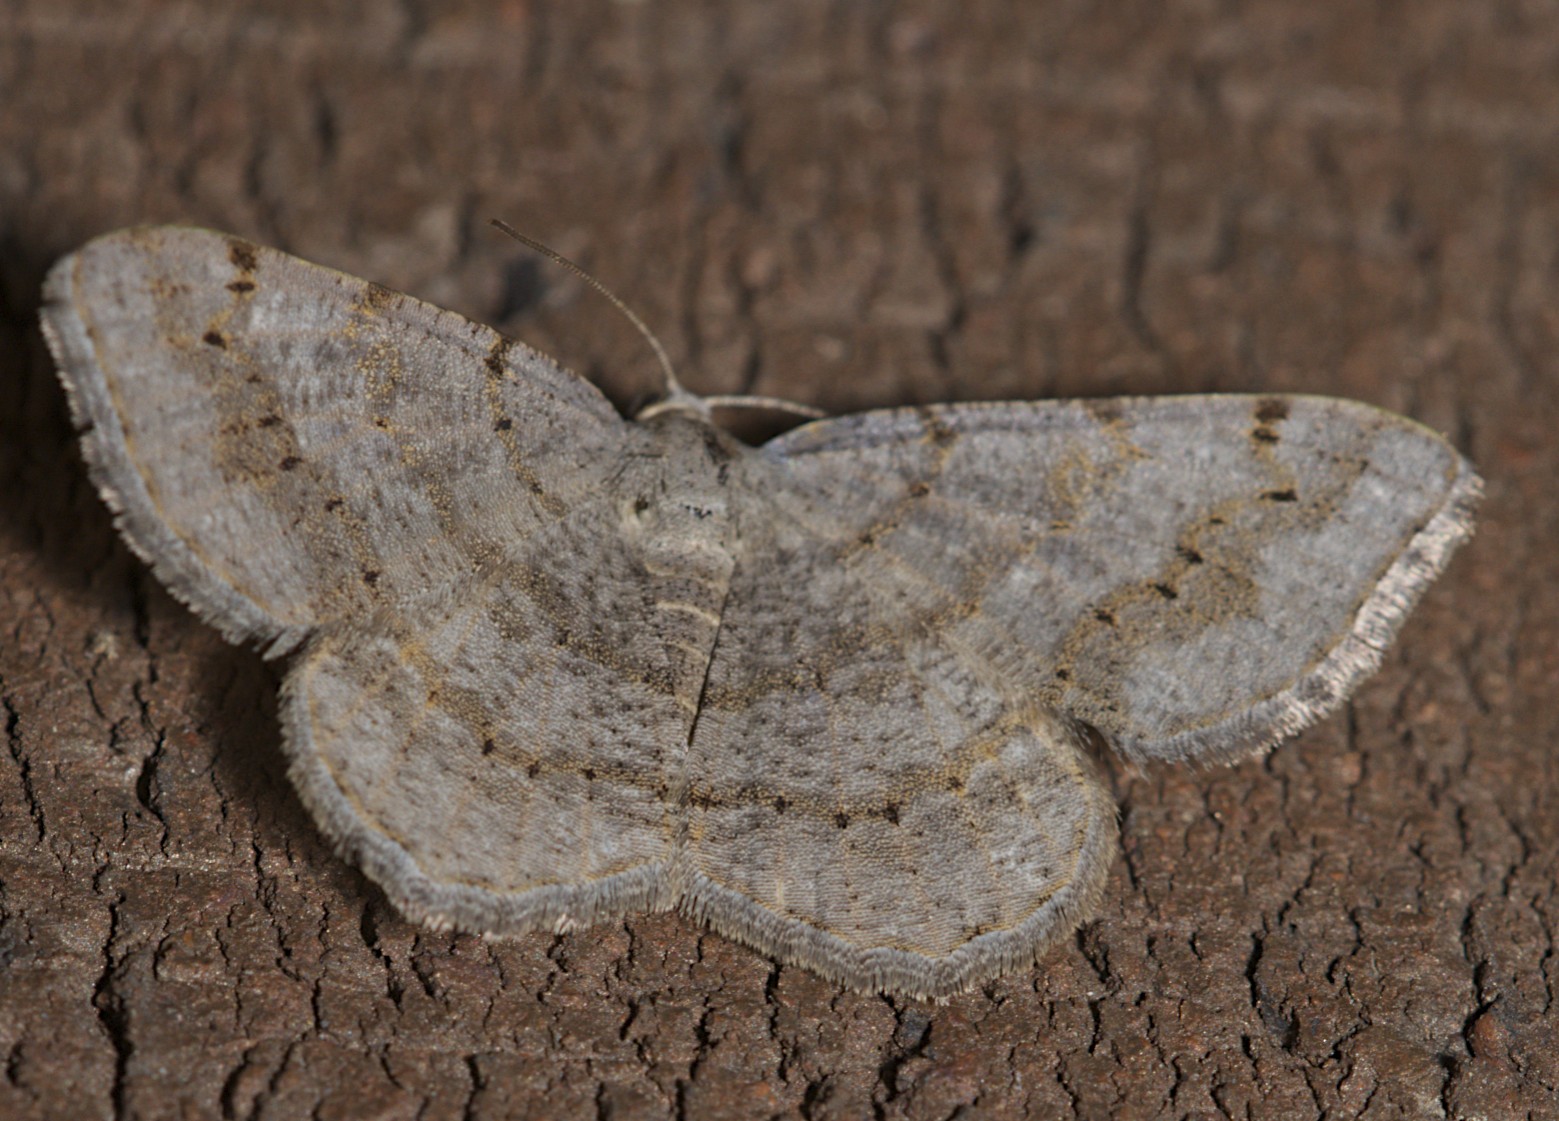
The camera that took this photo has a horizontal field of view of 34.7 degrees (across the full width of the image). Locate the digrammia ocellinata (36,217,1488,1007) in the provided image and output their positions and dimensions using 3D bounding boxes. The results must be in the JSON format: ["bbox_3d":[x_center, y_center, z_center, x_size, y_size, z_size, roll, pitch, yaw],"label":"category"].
[{"bbox_3d":[-0.140,0.167,6.378,3.373,0.596,1.562,7,83,0],"label":"digrammia ocellinata"}]
